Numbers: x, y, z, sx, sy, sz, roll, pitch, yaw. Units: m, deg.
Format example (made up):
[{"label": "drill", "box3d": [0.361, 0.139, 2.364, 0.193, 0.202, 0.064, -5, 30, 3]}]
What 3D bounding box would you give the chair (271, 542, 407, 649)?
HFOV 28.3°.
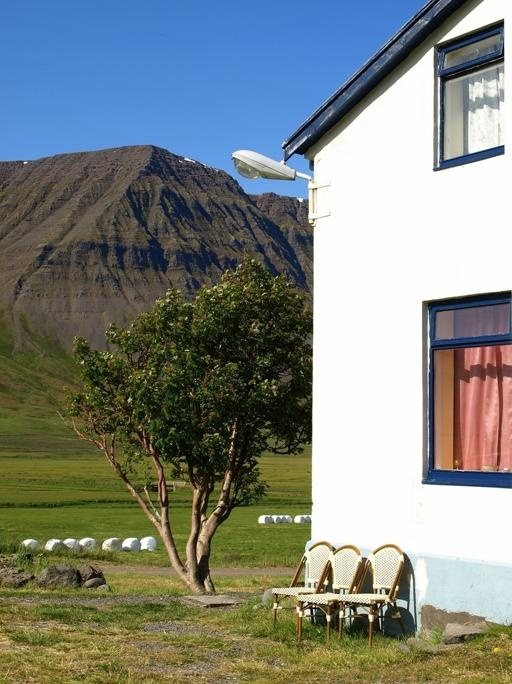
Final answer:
[{"label": "chair", "box3d": [1.043, 3.060, 12.129, 0.542, 0.907, 1.422, 7, -13, -33]}]
